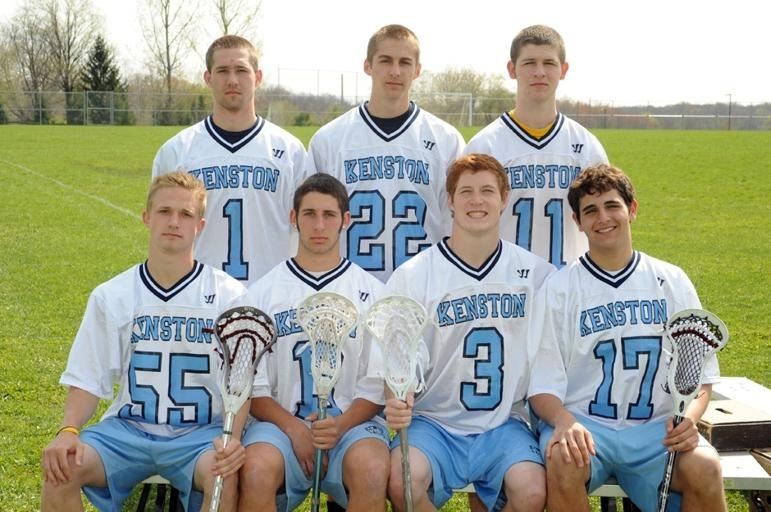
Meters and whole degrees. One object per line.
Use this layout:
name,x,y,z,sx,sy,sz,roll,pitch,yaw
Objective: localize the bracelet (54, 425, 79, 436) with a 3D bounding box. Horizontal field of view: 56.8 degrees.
bracelet,-2.205,1.233,4.983,0.146,0.077,0.083,-5,10,-25
